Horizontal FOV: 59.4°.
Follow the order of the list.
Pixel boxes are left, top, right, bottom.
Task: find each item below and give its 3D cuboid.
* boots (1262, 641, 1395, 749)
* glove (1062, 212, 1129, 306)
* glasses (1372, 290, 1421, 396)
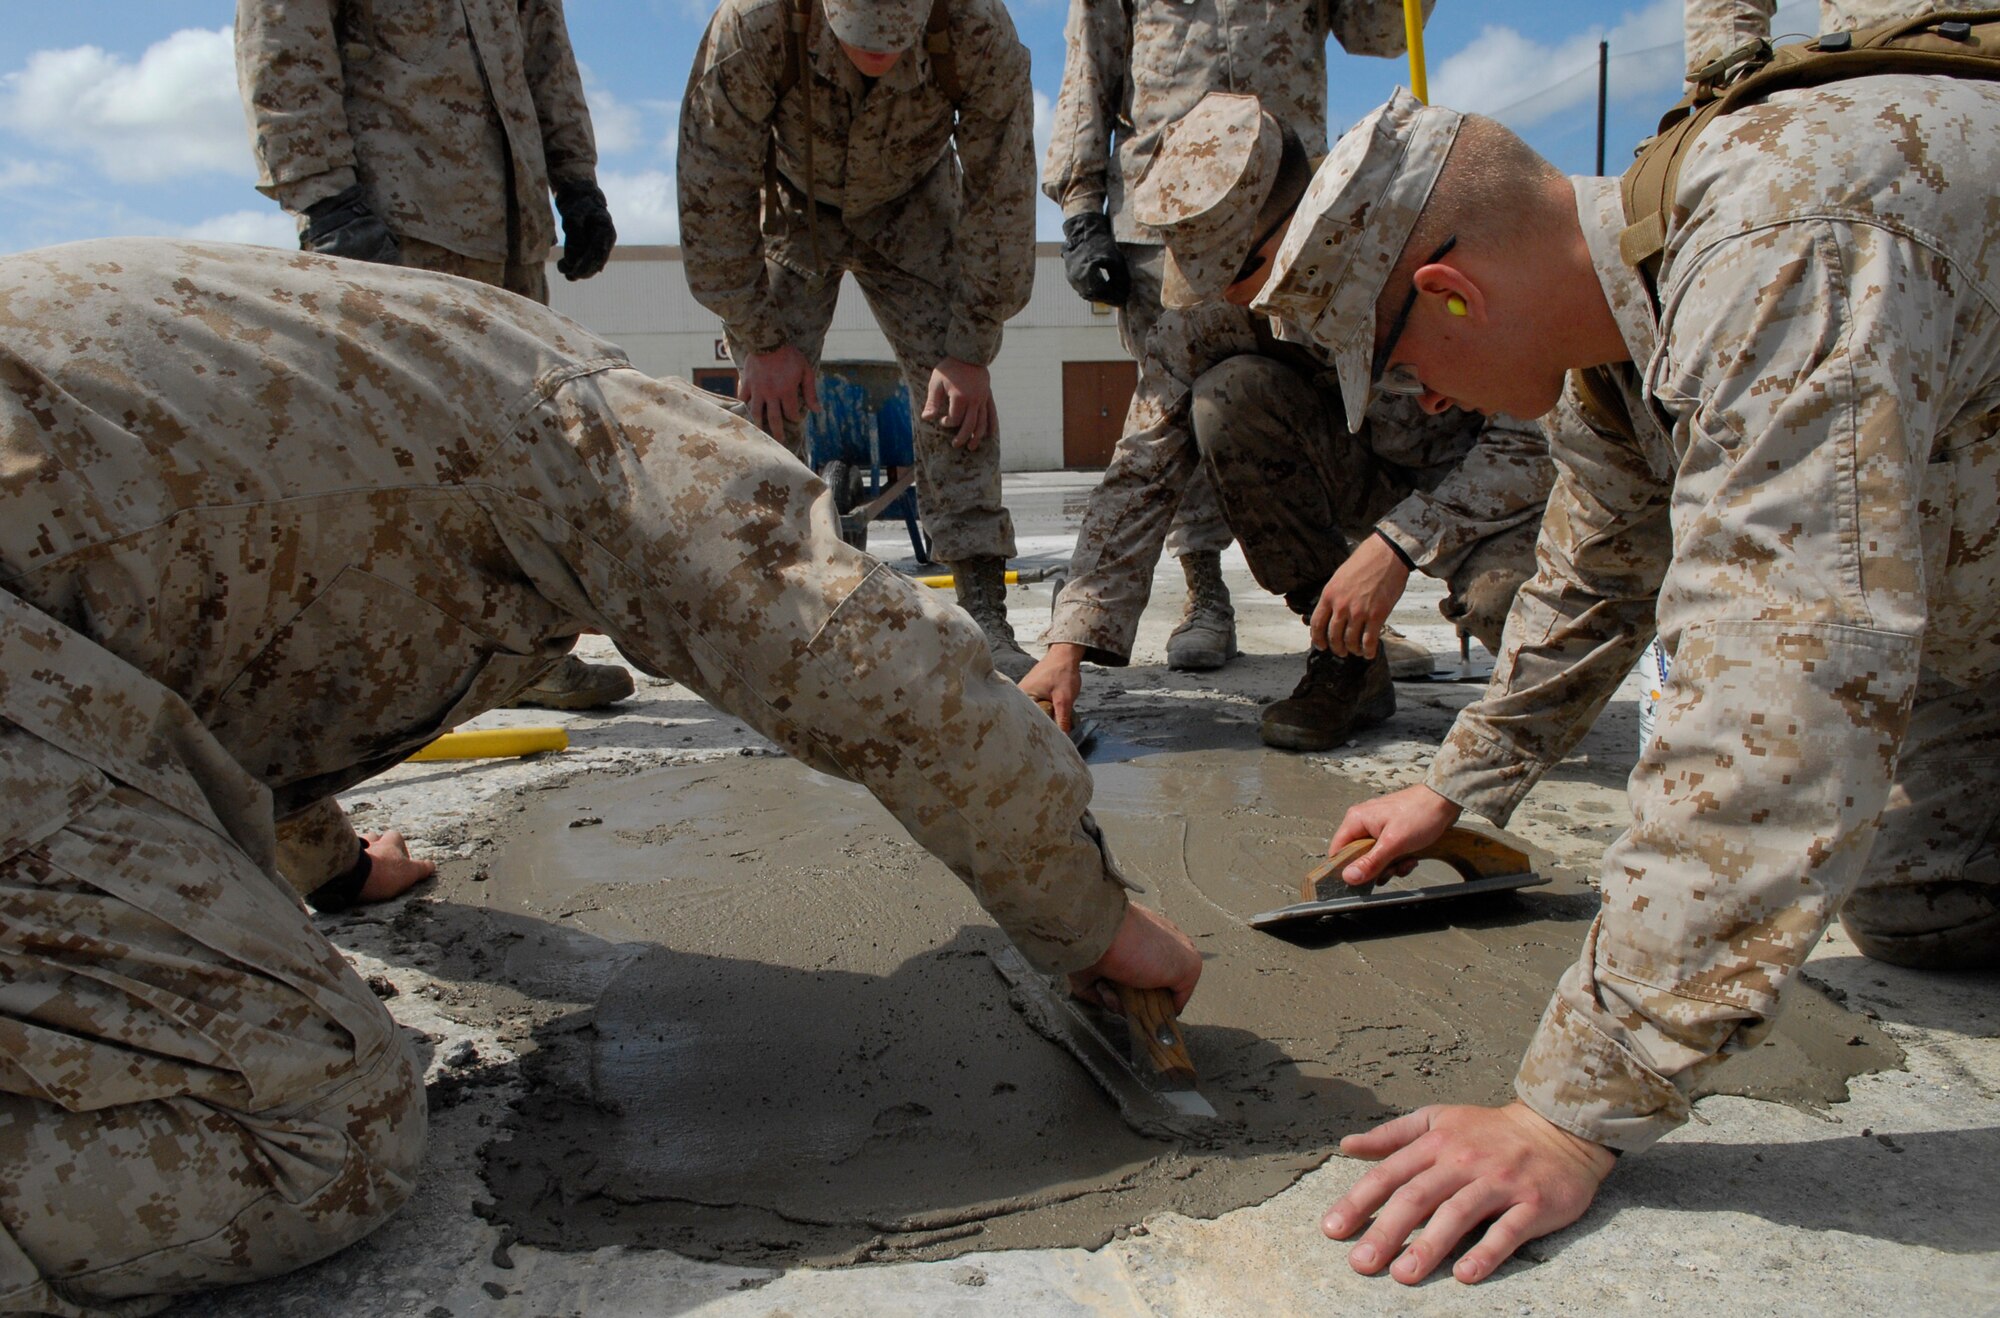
[{"bbox_3d":[0.832,0.067,4.488,0.165,0.263,0.491,8,19,42],"label":"boots"},{"bbox_3d":[0.291,-1.120,4.881,0.192,0.239,0.213,-1,-3,-34],"label":"glove"},{"bbox_3d":[0.638,-0.526,2.834,0.034,0.110,0.088,26,2,-13],"label":"glasses"}]
